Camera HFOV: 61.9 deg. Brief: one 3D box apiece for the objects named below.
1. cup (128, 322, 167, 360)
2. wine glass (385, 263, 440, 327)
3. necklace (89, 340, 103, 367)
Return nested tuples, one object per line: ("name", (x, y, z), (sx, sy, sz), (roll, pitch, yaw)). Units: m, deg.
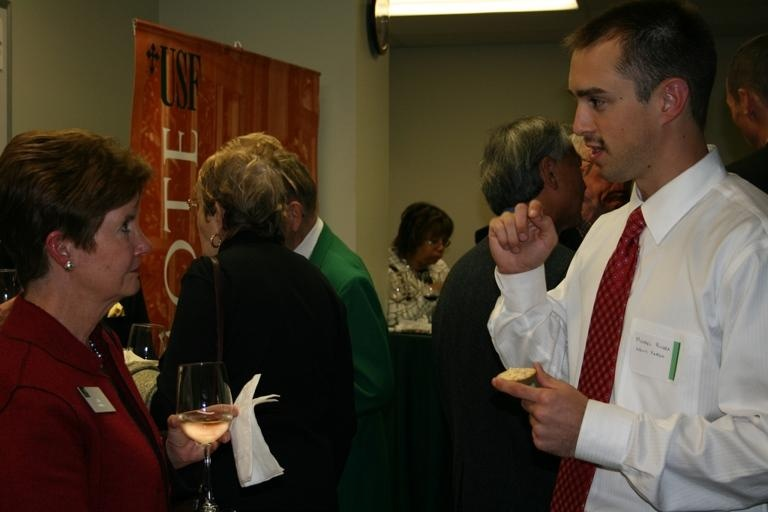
("cup", (-0.896, 0.325, 2.432), (0.133, 0.159, 0.143), (1, 1, 0))
("wine glass", (0.209, 0.324, 5.172), (0.339, 0.463, 0.247), (15, -25, -41))
("necklace", (-0.799, 0.272, 1.776), (0.013, 0.052, 0.052), (-21, 18, 3))
